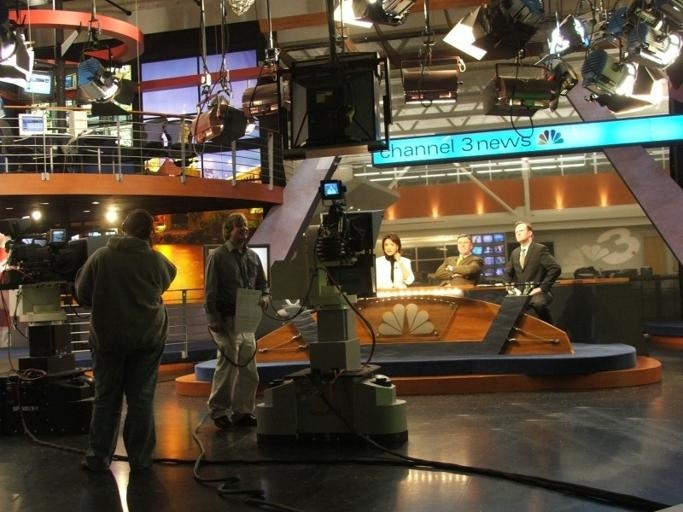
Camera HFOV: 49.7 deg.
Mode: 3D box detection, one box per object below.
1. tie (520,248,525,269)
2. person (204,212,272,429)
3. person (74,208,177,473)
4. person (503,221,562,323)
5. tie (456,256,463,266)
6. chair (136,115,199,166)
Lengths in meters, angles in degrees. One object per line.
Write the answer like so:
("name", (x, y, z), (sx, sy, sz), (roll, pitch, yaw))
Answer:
("tie", (2.339, 0.042, 9.526), (0.048, 0.171, 0.121), (2, -6, 6))
("person", (-1.011, 0.624, 7.096), (0.428, 2.022, 0.600), (3, 10, 27))
("person", (-1.756, 0.799, 6.056), (0.820, 1.883, 0.423), (-5, 9, -15))
("person", (2.430, 0.204, 9.372), (0.632, 1.194, 0.891), (-1, 9, 7))
("tie", (1.589, 0.072, 9.867), (0.043, 0.103, 0.078), (22, -18, -31))
("chair", (-3.194, -2.113, 13.670), (1.390, 0.946, 0.742), (2, 6, 9))
